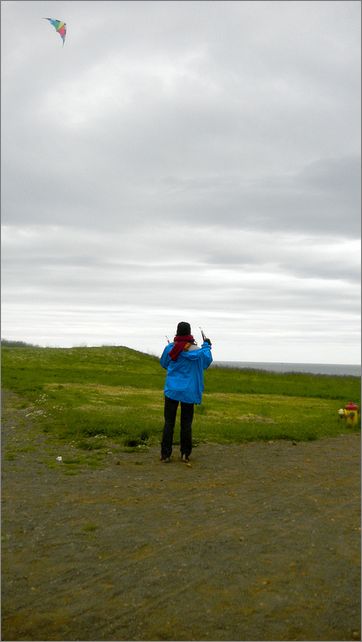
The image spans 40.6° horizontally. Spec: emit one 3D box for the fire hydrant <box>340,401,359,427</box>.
[{"bbox_3d":[5.768,3.122,16.461,0.466,0.681,0.582,1,-8,-6],"label":"fire hydrant"}]

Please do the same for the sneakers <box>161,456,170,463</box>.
[{"bbox_3d":[-0.318,2.707,9.596,0.189,0.095,0.276,3,-3,-3],"label":"sneakers"}]

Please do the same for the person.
[{"bbox_3d":[0.092,1.415,9.893,0.990,2.798,1.079,4,-4,-25],"label":"person"}]
